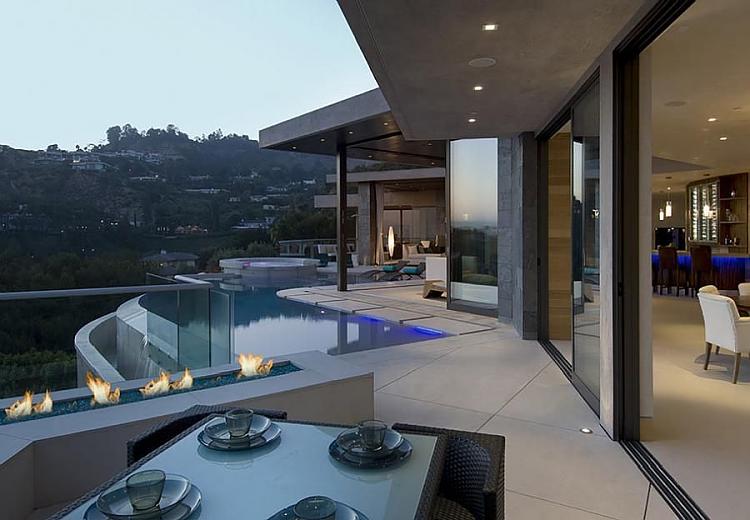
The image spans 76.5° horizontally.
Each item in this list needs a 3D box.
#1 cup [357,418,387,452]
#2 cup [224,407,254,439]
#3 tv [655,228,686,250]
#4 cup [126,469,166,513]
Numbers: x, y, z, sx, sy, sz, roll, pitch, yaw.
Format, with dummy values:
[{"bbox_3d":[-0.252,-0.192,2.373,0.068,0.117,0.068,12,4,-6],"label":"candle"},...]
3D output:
[{"bbox_3d":[-0.014,0.816,2.263,0.122,0.102,0.127,-1,0,0],"label":"cup"},{"bbox_3d":[-0.664,0.780,2.295,0.110,0.092,0.121,1,-5,-6],"label":"cup"},{"bbox_3d":[10.185,-0.749,16.365,0.437,0.844,0.856,1,-1,11],"label":"tv"},{"bbox_3d":[-0.917,0.907,1.925,0.124,0.109,0.140,2,6,12],"label":"cup"}]
